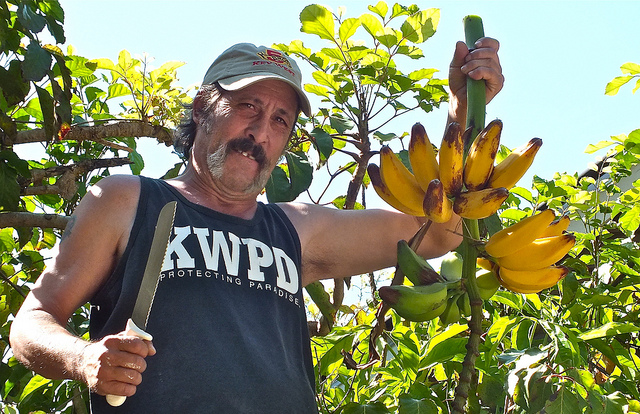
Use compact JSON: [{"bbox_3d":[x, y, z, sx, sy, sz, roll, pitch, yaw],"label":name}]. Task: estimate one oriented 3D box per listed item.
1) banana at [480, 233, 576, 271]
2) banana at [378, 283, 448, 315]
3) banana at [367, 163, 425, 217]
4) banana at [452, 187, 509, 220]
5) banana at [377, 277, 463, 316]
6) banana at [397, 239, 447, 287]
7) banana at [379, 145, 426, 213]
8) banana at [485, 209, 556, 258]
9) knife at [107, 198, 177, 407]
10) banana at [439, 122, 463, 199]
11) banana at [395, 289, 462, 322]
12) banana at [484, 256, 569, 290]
[{"bbox_3d":[0.873,0.198,2.533,0.122,0.146,0.422,-14,2,-42],"label":"banana"},{"bbox_3d":[0.398,0.370,2.469,0.332,0.135,0.167,2,-6,-21],"label":"banana"},{"bbox_3d":[0.333,-0.081,2.520,0.110,0.314,0.083,-40,10,-12],"label":"banana"},{"bbox_3d":[0.639,-0.015,2.420,0.213,0.128,0.085,1,-11,17],"label":"banana"},{"bbox_3d":[0.411,0.363,2.453,0.374,0.142,0.110,-4,-21,-33],"label":"banana"},{"bbox_3d":[0.425,0.244,2.509,0.204,0.180,0.152,2,-11,11],"label":"banana"},{"bbox_3d":[0.343,-0.110,2.483,0.104,0.300,0.090,-33,6,29],"label":"banana"},{"bbox_3d":[0.859,0.067,2.523,0.104,0.122,0.340,-9,4,-19],"label":"banana"},{"bbox_3d":[-0.735,0.356,2.557,0.155,0.934,0.084,15,-12,10],"label":"knife"},{"bbox_3d":[0.541,-0.181,2.484,0.116,0.398,0.136,1,2,18],"label":"banana"},{"bbox_3d":[0.438,0.389,2.439,0.321,0.125,0.075,-13,-4,-34],"label":"banana"},{"bbox_3d":[0.889,0.262,2.532,0.386,0.162,0.103,-4,4,7],"label":"banana"}]
